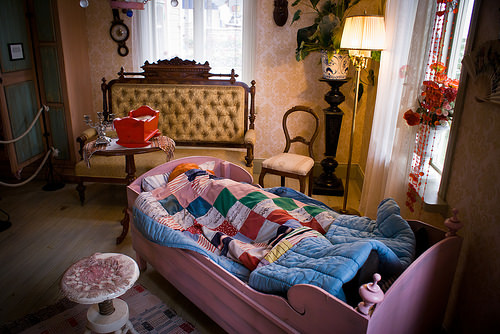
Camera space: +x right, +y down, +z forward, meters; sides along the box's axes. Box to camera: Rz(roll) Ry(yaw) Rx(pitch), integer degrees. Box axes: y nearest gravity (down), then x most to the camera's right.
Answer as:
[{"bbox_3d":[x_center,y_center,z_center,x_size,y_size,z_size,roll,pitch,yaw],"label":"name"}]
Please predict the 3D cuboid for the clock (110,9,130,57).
[{"bbox_3d":[-1.611,-1.707,4.164,0.222,0.634,0.012,-20,44,-26],"label":"clock"}]

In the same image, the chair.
[{"bbox_3d":[0.429,-0.108,3.708,0.551,1.051,0.581,7,22,16],"label":"chair"}]

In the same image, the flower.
[{"bbox_3d":[1.315,-0.524,2.451,0.324,0.459,0.208,16,24,39],"label":"flower"}]

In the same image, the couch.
[{"bbox_3d":[-0.922,-0.367,3.568,1.491,1.405,0.641,3,16,0],"label":"couch"}]
